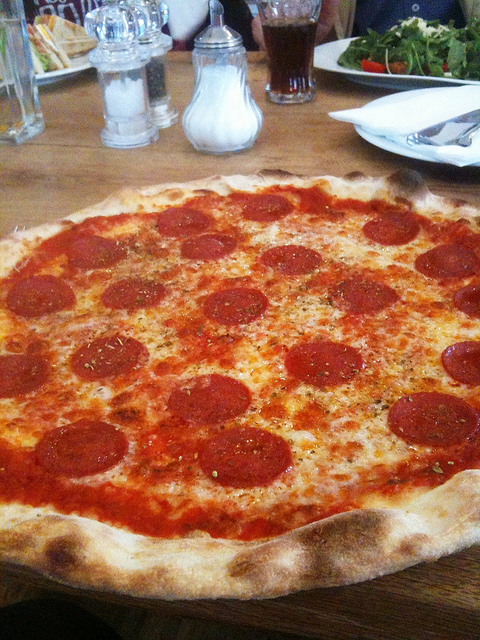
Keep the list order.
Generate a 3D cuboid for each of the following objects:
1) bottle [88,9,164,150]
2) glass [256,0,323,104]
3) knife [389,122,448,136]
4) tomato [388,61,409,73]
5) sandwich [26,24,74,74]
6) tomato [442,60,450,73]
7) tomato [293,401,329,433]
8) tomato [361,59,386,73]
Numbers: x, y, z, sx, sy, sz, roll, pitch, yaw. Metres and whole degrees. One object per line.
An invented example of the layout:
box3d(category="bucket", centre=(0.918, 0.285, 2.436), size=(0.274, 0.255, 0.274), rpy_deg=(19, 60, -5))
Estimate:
box3d(category="bottle", centre=(-0.405, -0.826, 2.122), size=(0.349, 0.455, 0.300), rpy_deg=(-5, 33, -5))
box3d(category="glass", centre=(0.193, -0.988, 2.375), size=(0.226, 0.362, 0.223), rpy_deg=(-5, 27, 1))
box3d(category="knife", centre=(0.533, -0.551, 1.873), size=(0.187, 0.007, 0.047), rpy_deg=(-6, 47, -6))
box3d(category="tomato", centre=(0.664, -1.043, 2.640), size=(0.051, 0.043, 0.122), rpy_deg=(-13, 26, -16))
box3d(category="sandwich", centre=(-0.815, -1.177, 2.773), size=(0.087, 0.280, 0.193), rpy_deg=(11, 61, -30))
box3d(category="tomato", centre=(0.843, -1.034, 2.611), size=(0.026, 0.043, 0.121), rpy_deg=(3, 25, 16))
box3d(category="tomato", centre=(0.124, 0.168, 1.105), size=(0.058, 0.014, 0.078), rpy_deg=(0, 24, 8))
box3d(category="tomato", centre=(0.549, -1.036, 2.614), size=(0.096, 0.053, 0.110), rpy_deg=(1, 25, 10))
